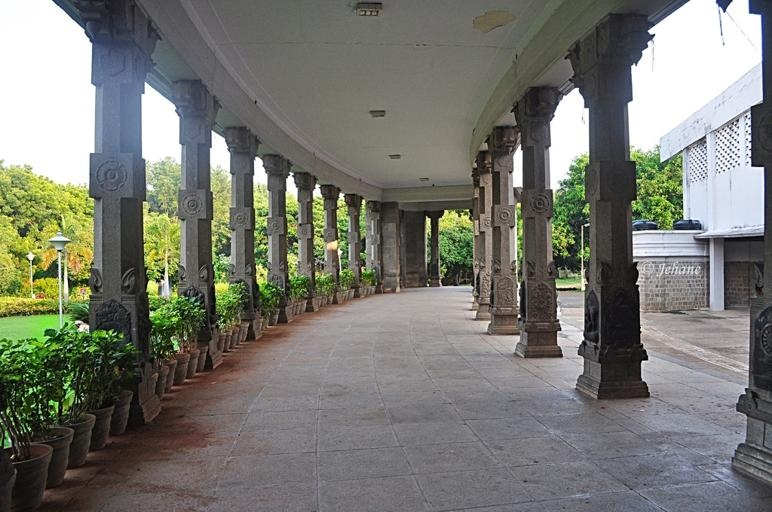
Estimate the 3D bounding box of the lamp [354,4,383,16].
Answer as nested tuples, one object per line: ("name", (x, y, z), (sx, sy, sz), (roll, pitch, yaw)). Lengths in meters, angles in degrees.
("lamp", (-0.233, -3.407, 7.721), (0.391, 0.103, 0.340), (-2, 7, -4))
